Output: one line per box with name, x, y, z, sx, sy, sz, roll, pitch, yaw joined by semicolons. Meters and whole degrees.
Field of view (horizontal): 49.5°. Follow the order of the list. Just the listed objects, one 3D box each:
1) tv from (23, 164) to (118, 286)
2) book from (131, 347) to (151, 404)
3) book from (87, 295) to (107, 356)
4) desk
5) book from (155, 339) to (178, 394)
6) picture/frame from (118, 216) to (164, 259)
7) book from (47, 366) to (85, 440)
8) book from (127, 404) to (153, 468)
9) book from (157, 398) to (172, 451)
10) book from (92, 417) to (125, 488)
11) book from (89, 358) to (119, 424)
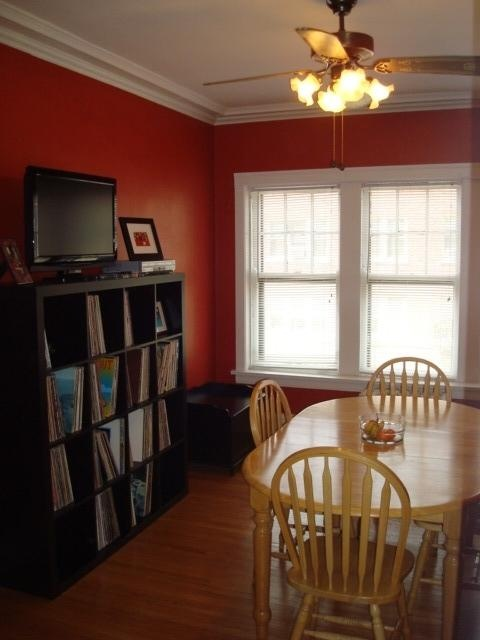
tv;-0.805;-0.453;2.523;0.049;0.484;0.543;10;14;28
book;-0.535;0.296;2.876;0.040;0.239;0.189;1;1;14
book;-0.691;0.023;2.478;0.038;0.233;0.193;-4;0;0
desk;-0.262;0.803;3.919;0.596;0.536;0.526;-3;6;21
book;-0.435;0.274;3.117;0.178;0.250;0.221;-2;8;1
picture/frame;-0.635;-0.523;3.256;0.007;0.280;0.242;-10;15;26
book;-0.762;0.369;2.293;0.144;0.299;0.229;-1;3;-18
book;-0.539;0.634;2.935;0.181;0.382;0.212;0;7;-6
book;-0.460;0.625;3.110;0.036;0.228;0.182;-3;-7;12
book;-0.650;0.656;2.649;0.197;0.348;0.184;6;11;33
book;-0.670;0.343;2.581;0.176;0.321;0.181;4;7;24
